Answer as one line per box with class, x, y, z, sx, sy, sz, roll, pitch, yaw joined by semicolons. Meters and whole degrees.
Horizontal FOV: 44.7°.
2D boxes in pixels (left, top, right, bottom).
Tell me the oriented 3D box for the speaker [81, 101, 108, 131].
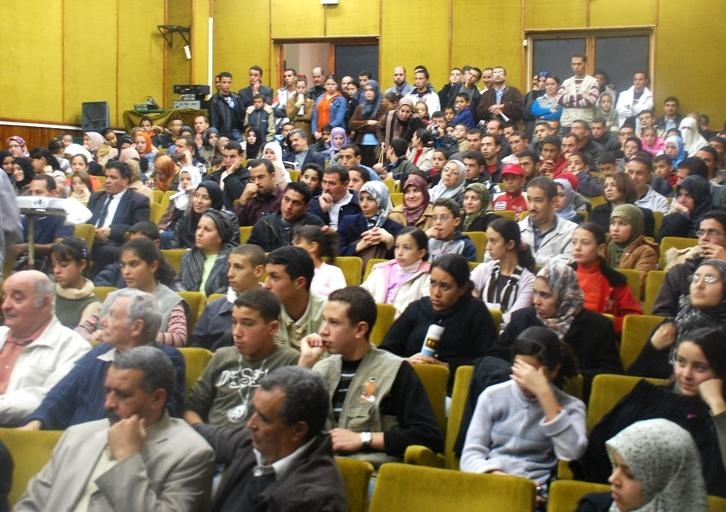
speaker;-4.613;-2.391;15.100;0.527;0.541;0.555;0;7;3
